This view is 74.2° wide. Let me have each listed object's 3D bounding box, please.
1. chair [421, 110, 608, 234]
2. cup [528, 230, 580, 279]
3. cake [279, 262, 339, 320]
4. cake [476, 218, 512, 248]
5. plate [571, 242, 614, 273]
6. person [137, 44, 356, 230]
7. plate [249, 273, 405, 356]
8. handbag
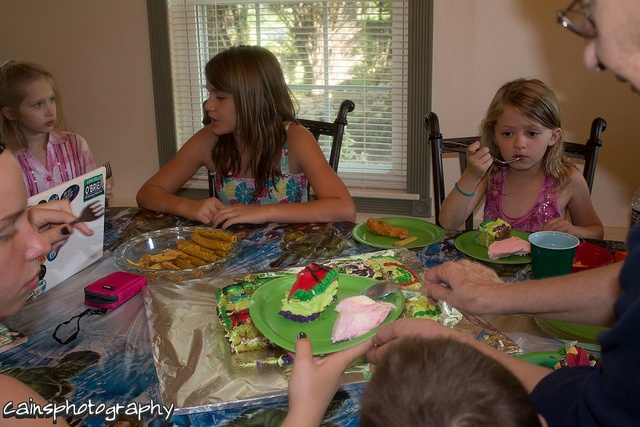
[{"bbox_3d":[1.305,-0.170,2.576,0.596,0.898,0.591,-3,21,-45],"label":"chair"},{"bbox_3d":[0.765,0.125,1.444,0.167,0.130,0.166,0,10,0],"label":"cup"},{"bbox_3d":[-0.032,0.236,1.340,0.135,0.088,0.229,12,23,20],"label":"cake"},{"bbox_3d":[0.702,0.079,1.724,0.098,0.082,0.129,14,25,38],"label":"cake"},{"bbox_3d":[0.965,0.161,1.533,0.147,0.067,0.149,11,30,39],"label":"plate"},{"bbox_3d":[-0.426,-0.566,2.781,1.108,1.557,0.817,18,25,41],"label":"person"},{"bbox_3d":[-0.028,0.306,1.268,0.286,0.042,0.248,-4,24,-9],"label":"plate"},{"bbox_3d":[-0.718,0.307,1.411,0.115,0.052,0.242,9,30,29],"label":"handbag"}]
